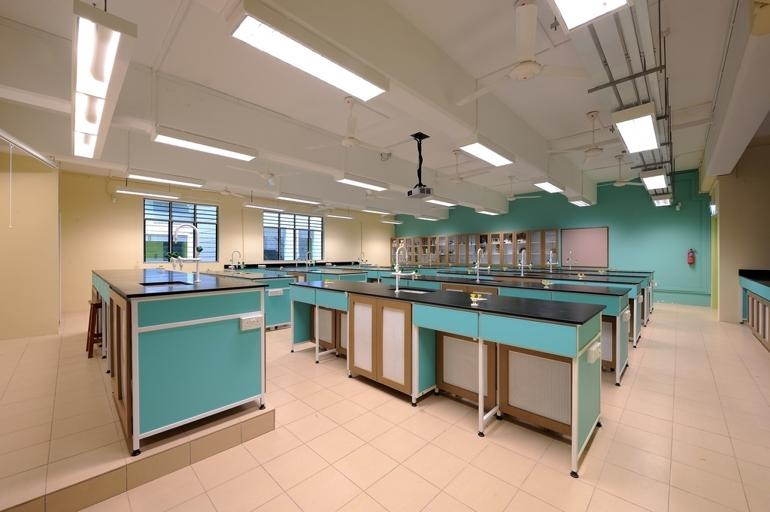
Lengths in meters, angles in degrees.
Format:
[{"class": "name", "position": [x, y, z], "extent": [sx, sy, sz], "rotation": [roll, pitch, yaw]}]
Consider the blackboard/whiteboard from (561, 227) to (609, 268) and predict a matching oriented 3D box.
[{"class": "blackboard/whiteboard", "position": [5.447, -0.224, 12.545], "extent": [0.079, 1.025, 1.083], "rotation": [-1, 3, -36]}]

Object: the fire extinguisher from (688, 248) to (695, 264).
[{"class": "fire extinguisher", "position": [7.164, 0.024, 10.863], "extent": [0.164, 0.356, 0.126], "rotation": [-2, 2, 32]}]
